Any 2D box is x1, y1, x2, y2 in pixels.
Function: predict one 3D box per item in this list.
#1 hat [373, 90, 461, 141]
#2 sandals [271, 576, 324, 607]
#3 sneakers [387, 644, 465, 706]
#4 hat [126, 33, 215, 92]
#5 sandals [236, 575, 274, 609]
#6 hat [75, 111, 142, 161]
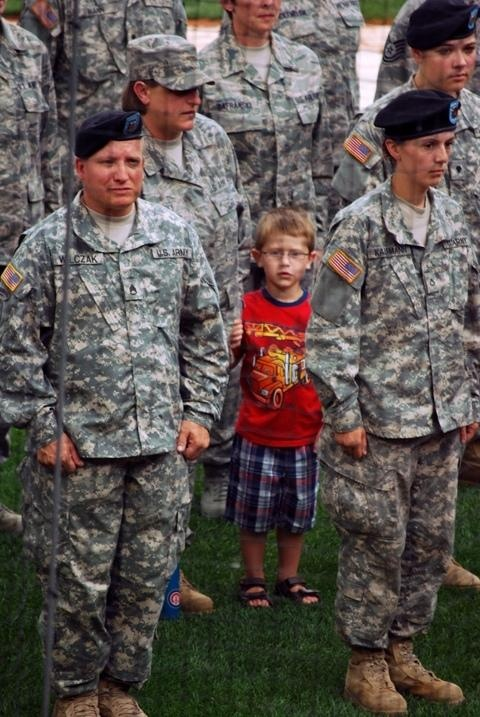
[{"bbox_3d":[0.601,-0.823,3.134,0.208,0.085,0.232,-24,29,-33],"label":"hat"},{"bbox_3d":[0.271,1.061,4.290,0.092,0.068,0.181,8,-11,-36],"label":"sandals"},{"bbox_3d":[0.707,1.128,3.397,0.362,0.215,0.117,2,2,22],"label":"sneakers"},{"bbox_3d":[-0.256,-1.161,3.686,0.321,0.143,0.234,10,20,27],"label":"hat"},{"bbox_3d":[0.067,1.058,4.261,0.124,0.084,0.250,0,-5,-1],"label":"sandals"},{"bbox_3d":[-0.375,-0.675,2.801,0.187,0.075,0.146,-10,8,35],"label":"hat"}]
